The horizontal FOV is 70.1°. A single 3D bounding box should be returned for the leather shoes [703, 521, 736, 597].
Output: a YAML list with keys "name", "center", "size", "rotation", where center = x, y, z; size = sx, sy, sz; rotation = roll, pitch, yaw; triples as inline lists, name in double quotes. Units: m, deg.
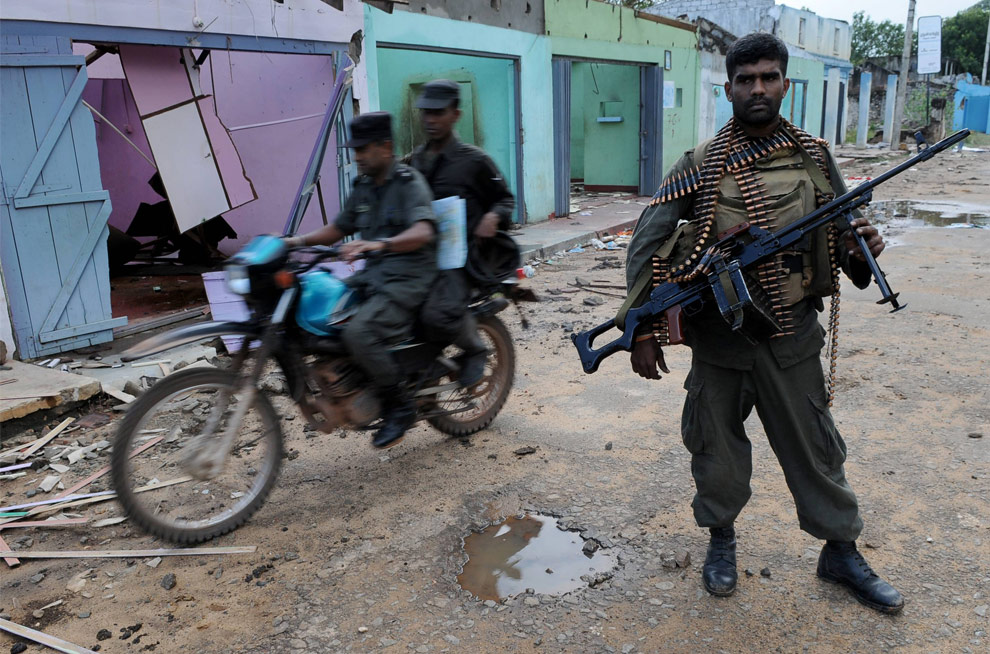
- name: "leather shoes"
  center: [1.161, 1.229, 3.673]
  size: [0.141, 0.164, 0.401]
  rotation: [-1, 11, 15]

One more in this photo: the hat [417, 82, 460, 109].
- name: "hat"
  center: [-0.397, -1.675, 5.131]
  size: [0.287, 0.200, 0.251]
  rotation: [-4, 17, -4]

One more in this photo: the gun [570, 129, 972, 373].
- name: "gun"
  center: [1.387, -0.169, 3.528]
  size: [2.070, 0.727, 0.453]
  rotation: [-27, 23, 3]

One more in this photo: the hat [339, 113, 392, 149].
- name: "hat"
  center: [-0.807, -1.229, 4.438]
  size: [0.206, 0.133, 0.265]
  rotation: [-10, 22, -21]

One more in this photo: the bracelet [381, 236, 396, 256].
- name: "bracelet"
  center: [-0.616, -0.477, 4.179]
  size: [0.061, 0.099, 0.098]
  rotation: [-3, 24, 2]

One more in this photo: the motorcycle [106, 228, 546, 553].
- name: "motorcycle"
  center: [-1.034, 0.262, 4.332]
  size: [2.509, 1.687, 0.451]
  rotation: [-12, 20, -30]
